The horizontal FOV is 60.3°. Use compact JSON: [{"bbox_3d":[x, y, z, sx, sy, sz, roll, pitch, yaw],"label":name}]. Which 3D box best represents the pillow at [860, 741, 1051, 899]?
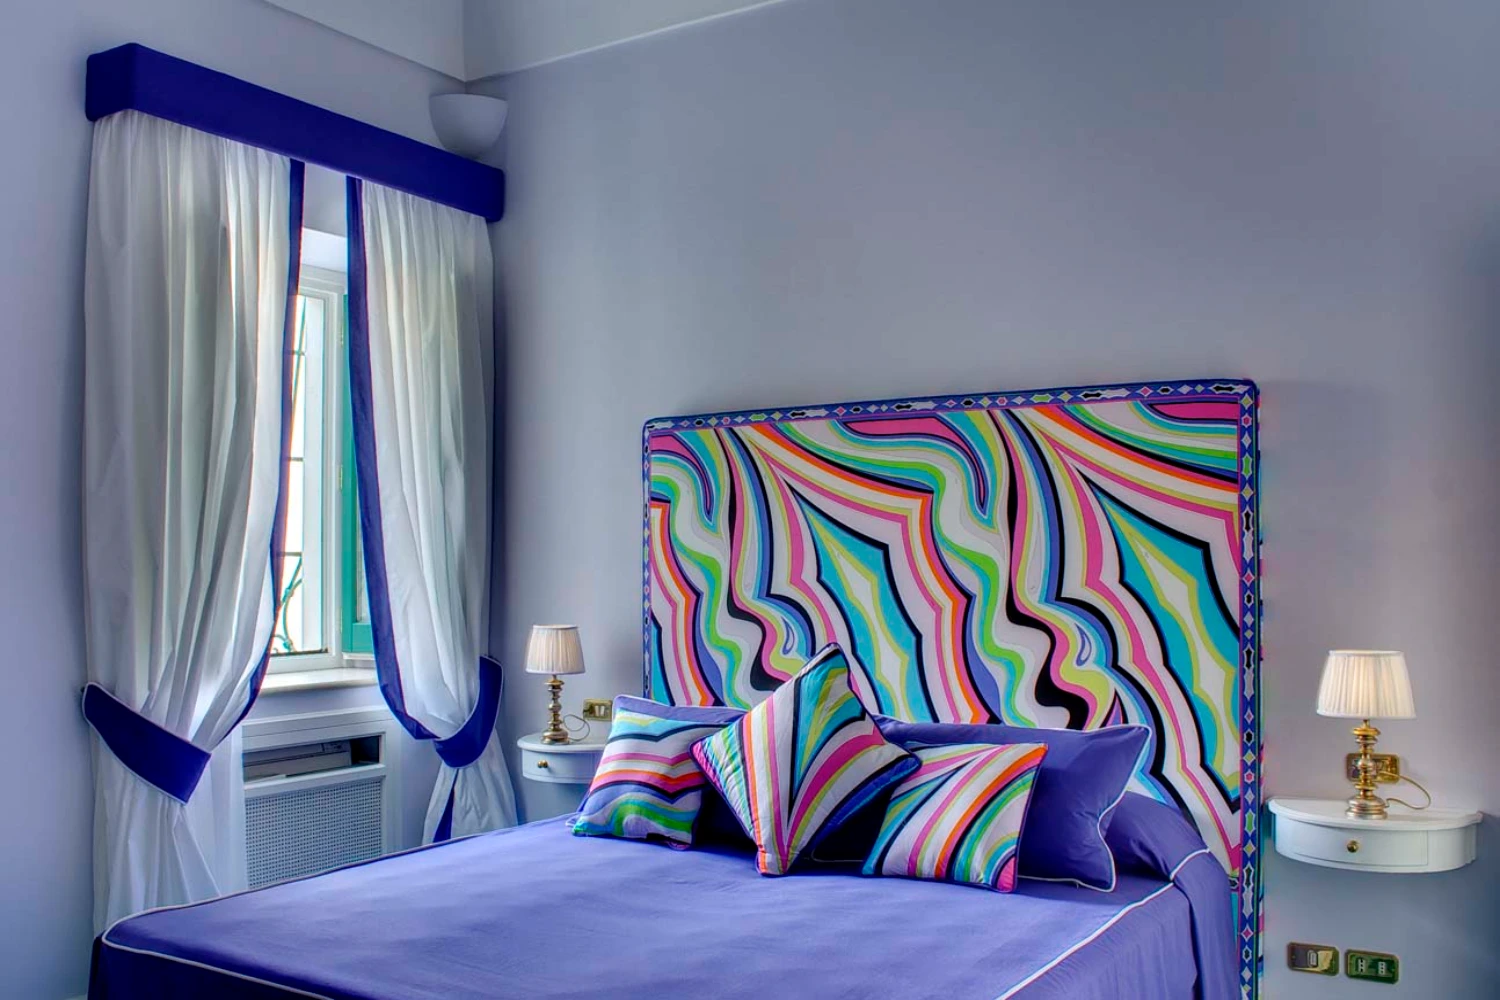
[{"bbox_3d":[0.663,1.019,4.202,0.529,0.390,0.320,3,12,23],"label":"pillow"}]

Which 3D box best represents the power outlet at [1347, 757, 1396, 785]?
[{"bbox_3d":[2.030,0.877,4.189,0.102,0.078,0.015,-1,-3,34],"label":"power outlet"}]

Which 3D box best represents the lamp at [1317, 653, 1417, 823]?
[{"bbox_3d":[1.990,0.737,4.171,0.265,0.543,0.313,4,12,27],"label":"lamp"}]
